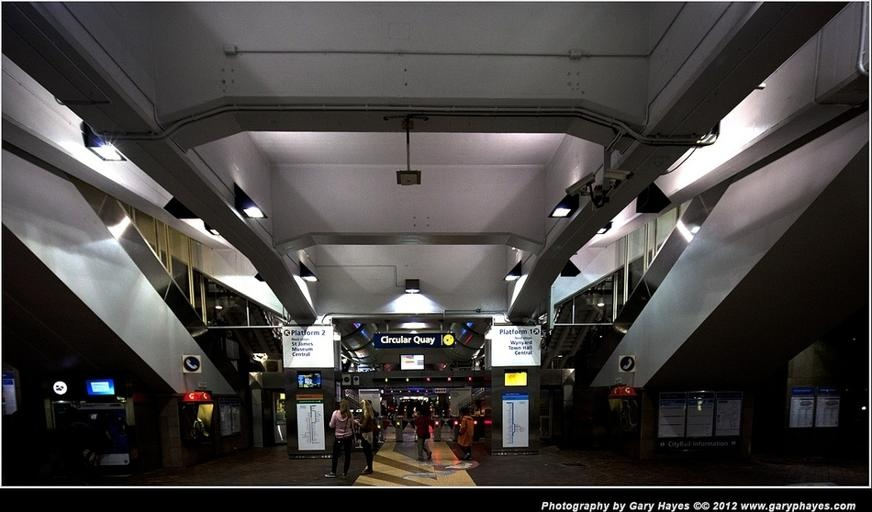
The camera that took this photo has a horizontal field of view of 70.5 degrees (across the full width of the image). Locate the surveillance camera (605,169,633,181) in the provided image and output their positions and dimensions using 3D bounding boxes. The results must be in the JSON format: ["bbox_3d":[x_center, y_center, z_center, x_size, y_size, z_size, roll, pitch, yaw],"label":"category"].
[{"bbox_3d":[3.764,-1.631,12.870,0.364,0.093,0.324,2,-6,1],"label":"surveillance camera"}]

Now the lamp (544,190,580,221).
[{"bbox_3d":[3.282,-1.174,15.567,0.415,0.423,0.949,3,-18,-11],"label":"lamp"}]

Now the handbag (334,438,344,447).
[{"bbox_3d":[-2.381,4.622,15.379,0.231,0.224,0.208,1,-23,10],"label":"handbag"}]

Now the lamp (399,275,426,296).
[{"bbox_3d":[-0.985,1.161,23.921,0.673,0.574,0.658,-4,-11,22],"label":"lamp"}]

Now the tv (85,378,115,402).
[{"bbox_3d":[-9.216,3.637,17.078,0.983,0.622,0.505,1,-4,-9],"label":"tv"}]

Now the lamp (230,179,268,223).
[{"bbox_3d":[-4.637,-1.282,15.225,0.679,0.223,0.960,-29,-44,2],"label":"lamp"}]

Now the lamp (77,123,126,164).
[{"bbox_3d":[-7.272,-2.467,13.321,0.901,0.395,1.181,10,-18,4],"label":"lamp"}]
